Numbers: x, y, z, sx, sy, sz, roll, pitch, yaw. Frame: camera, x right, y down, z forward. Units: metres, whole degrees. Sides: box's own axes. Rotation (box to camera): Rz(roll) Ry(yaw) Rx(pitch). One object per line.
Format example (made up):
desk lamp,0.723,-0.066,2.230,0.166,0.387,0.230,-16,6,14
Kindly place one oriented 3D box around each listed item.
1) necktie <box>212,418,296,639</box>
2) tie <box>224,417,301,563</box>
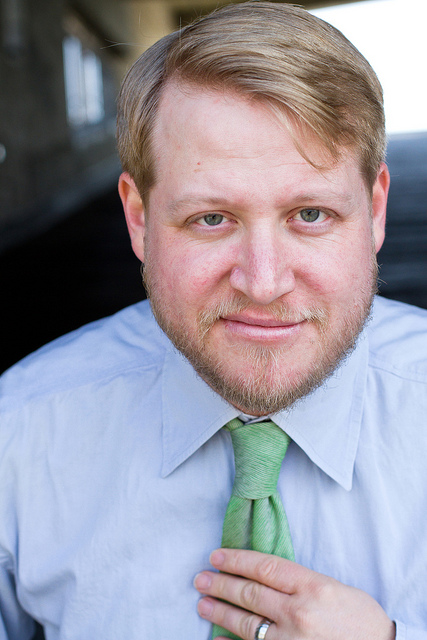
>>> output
necktie,0.083,0.347,1.274,0.146,0.228,0.192,-3,25,8
tie,0.096,0.360,1.294,0.170,0.314,0.096,5,16,9
